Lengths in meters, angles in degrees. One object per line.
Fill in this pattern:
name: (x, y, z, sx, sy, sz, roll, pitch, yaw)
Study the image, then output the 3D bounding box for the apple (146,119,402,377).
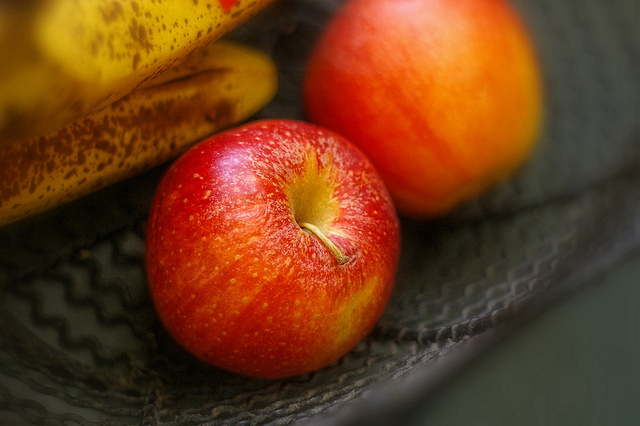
apple: (-0.045, 0.037, 0.678, 0.242, 0.188, 0.267, -5, 72, -24)
